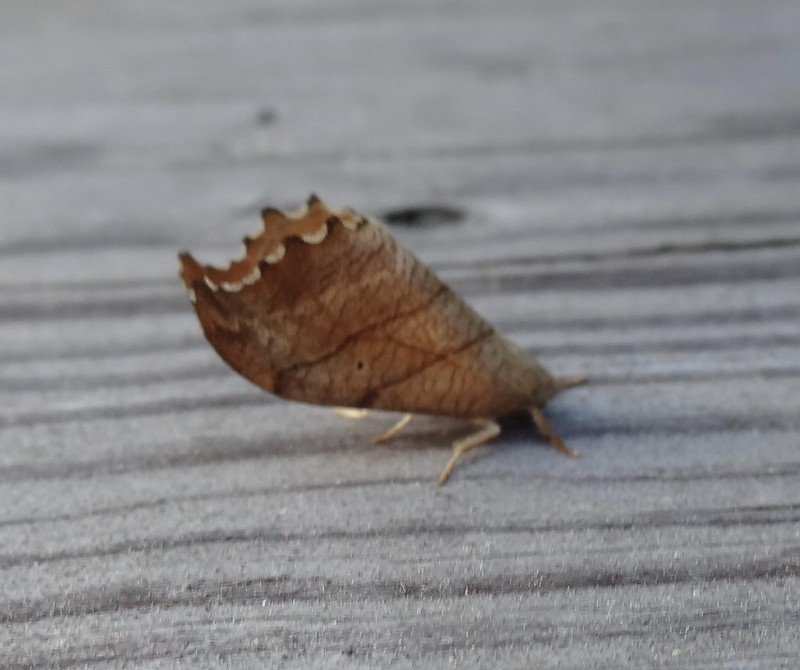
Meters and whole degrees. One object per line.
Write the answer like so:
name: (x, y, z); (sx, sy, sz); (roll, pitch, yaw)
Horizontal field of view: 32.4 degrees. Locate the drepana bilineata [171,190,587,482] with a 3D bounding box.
drepana bilineata: (-0.007, 0.006, 1.498); (0.404, 0.346, 0.192); (-7, 44, 7)
